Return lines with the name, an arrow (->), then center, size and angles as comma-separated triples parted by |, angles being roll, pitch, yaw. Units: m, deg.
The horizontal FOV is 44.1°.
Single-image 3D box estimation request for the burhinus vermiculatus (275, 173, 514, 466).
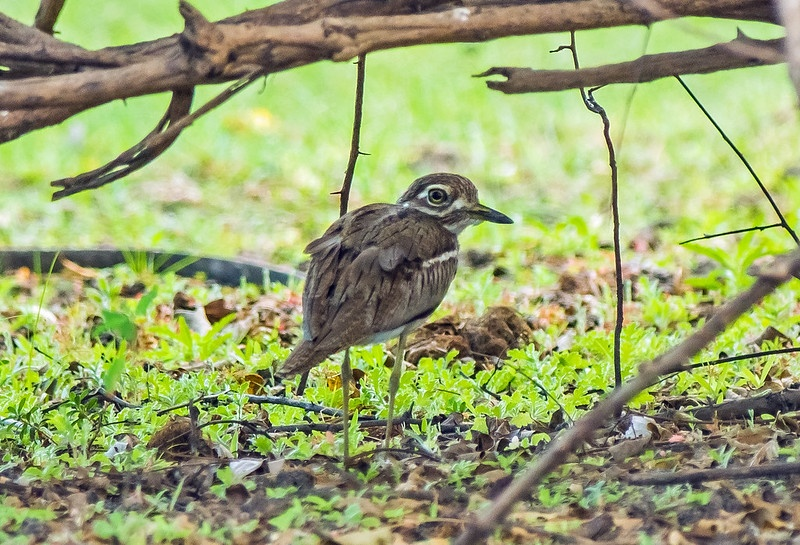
burhinus vermiculatus -> -0.121, 0.234, 5.609 | 0.743, 1.412, 1.594 | 6, -86, 41
